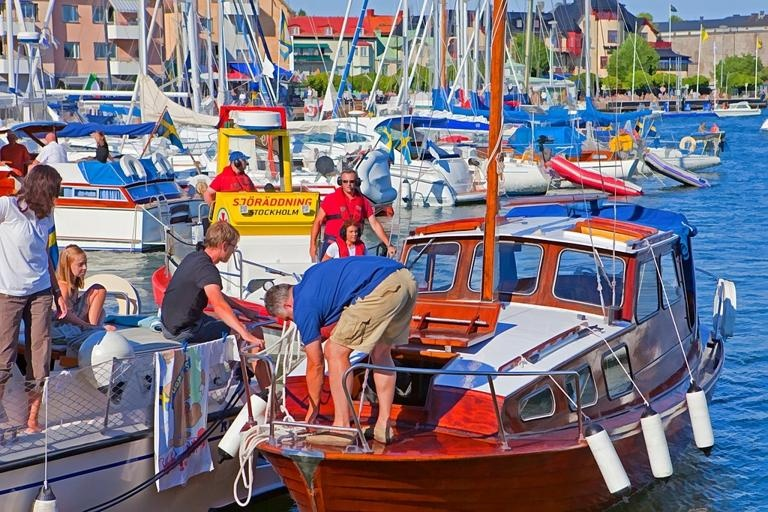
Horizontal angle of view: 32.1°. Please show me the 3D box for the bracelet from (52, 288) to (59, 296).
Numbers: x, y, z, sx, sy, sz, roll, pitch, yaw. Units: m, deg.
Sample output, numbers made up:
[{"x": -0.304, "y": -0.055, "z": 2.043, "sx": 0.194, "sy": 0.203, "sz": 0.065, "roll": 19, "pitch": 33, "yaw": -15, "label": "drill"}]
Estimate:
[{"x": -5.112, "y": 0.546, "z": 20.691, "sx": 0.070, "sy": 0.075, "sz": 0.090, "roll": 22, "pitch": -32, "yaw": -21, "label": "bracelet"}]

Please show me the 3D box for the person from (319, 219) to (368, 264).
[{"x": -0.712, "y": -0.263, "z": 23.194, "sx": 0.535, "sy": 0.981, "sz": 0.289, "roll": 10, "pitch": 16, "yaw": -34, "label": "person"}]

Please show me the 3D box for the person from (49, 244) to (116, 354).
[{"x": -4.920, "y": 0.655, "z": 21.533, "sx": 1.140, "sy": 1.570, "sz": 1.080, "roll": 8, "pitch": 13, "yaw": 21, "label": "person"}]

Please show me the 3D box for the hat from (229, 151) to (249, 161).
[{"x": -3.020, "y": -2.077, "z": 27.453, "sx": 0.269, "sy": 0.158, "sz": 0.431, "roll": 7, "pitch": 10, "yaw": 39, "label": "hat"}]
